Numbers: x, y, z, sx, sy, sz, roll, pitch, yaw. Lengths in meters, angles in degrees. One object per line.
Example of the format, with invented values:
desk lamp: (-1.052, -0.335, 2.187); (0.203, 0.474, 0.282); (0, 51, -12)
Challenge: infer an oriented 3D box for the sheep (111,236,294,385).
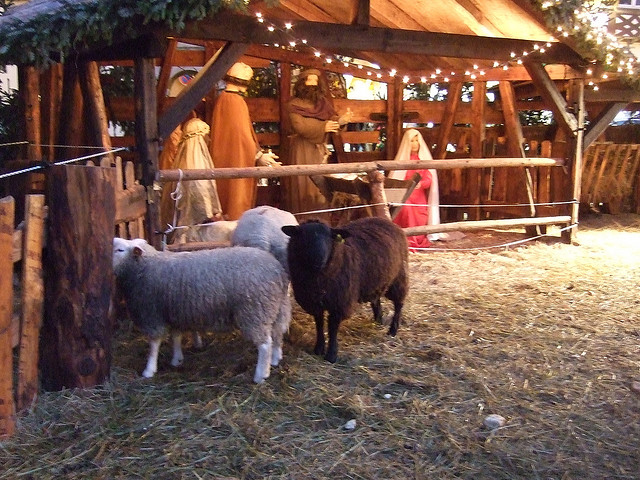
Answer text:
sheep: (-0.954, 0.498, 3.836); (1.613, 0.867, 0.633); (3, 2, 12)

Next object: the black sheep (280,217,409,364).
black sheep: (0.195, 0.367, 4.406); (0.826, 1.070, 1.630); (2, 7, 33)

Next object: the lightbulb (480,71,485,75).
lightbulb: (2.765, -2.861, 8.470); (0.064, 0.043, 0.064); (3, 5, 22)

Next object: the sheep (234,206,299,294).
sheep: (-0.438, -0.075, 4.409); (0.464, 0.528, 0.885); (-5, 7, -26)

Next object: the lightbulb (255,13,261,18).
lightbulb: (-0.663, -2.407, 5.291); (0.061, 0.043, 0.055); (0, 5, -6)

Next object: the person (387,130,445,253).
person: (1.618, -0.843, 8.072); (0.886, 1.951, 1.588); (2, 5, 12)

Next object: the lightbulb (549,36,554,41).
lightbulb: (3.433, -2.985, 7.346); (0.064, 0.033, 0.097); (3, 5, 19)

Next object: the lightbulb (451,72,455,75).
lightbulb: (2.320, -2.914, 8.655); (0.069, 0.035, 0.018); (5, 7, 42)

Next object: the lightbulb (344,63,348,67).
lightbulb: (0.459, -3.103, 8.776); (0.062, 0.076, 0.052); (0, 5, -9)
